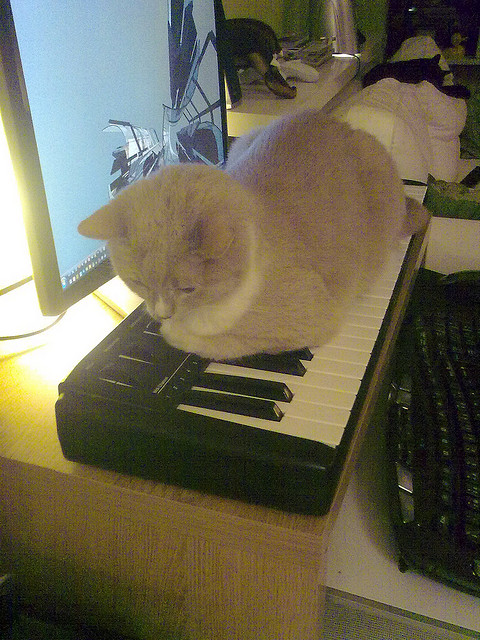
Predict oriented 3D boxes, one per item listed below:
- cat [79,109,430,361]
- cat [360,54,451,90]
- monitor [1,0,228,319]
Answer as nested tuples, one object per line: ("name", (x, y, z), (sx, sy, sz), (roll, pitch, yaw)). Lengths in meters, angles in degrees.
("cat", (0.055, -0.115, 0.553), (0.226, 0.157, 0.392), (6, 50, 22))
("cat", (0.490, -0.726, 1.457), (0.202, 0.074, 0.129), (-3, -19, -7))
("monitor", (-0.102, -0.184, 0.521), (0.084, 0.279, 0.407), (9, 28, 16))
